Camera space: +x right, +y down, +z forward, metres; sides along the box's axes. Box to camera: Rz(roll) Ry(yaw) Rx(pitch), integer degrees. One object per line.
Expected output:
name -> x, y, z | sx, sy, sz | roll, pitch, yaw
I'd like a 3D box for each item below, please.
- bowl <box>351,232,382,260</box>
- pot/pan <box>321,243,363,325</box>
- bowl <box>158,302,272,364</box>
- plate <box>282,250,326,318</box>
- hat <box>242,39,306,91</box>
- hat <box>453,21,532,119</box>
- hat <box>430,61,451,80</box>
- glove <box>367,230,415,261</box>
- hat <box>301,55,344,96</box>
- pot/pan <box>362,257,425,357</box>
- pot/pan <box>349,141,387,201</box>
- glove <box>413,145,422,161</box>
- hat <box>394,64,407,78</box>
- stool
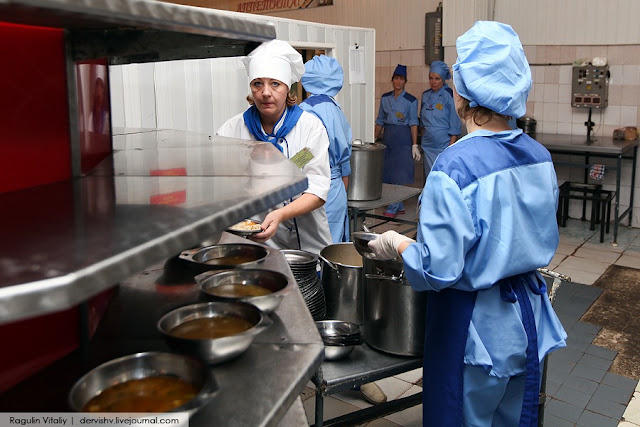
bowl -> 0.186, 0.130, 2.174 | 0.147, 0.064, 0.151 | -9, -9, -1
pot/pan -> 0.107, 0.307, 2.239 | 0.292, 0.222, 0.301 | -4, 11, -9
bowl -> -0.305, 0.346, 1.379 | 0.289, 0.104, 0.298 | 2, 11, 0
plate -> -0.051, 0.293, 2.037 | 0.253, 0.276, 0.257 | -4, 11, -9
hat -> -0.205, -0.746, 2.385 | 0.382, 0.300, 0.388 | 1, 24, -1
hat -> 0.699, -0.582, 1.905 | 0.352, 0.153, 0.456 | 8, 53, -2
hat -> 1.619, -1.895, 6.413 | 0.270, 0.218, 0.226 | 20, 5, -38
glove -> 0.295, 0.128, 1.941 | 0.127, 0.060, 0.167 | -17, 18, -20
hat -> 0.029, -1.043, 3.638 | 0.335, 0.406, 0.169 | -4, -11, -6
pot/pan -> 0.348, 0.401, 2.080 | 0.306, 0.350, 0.331 | 6, -2, 4
pot/pan -> 0.340, -0.359, 4.059 | 0.413, 0.451, 0.417 | 0, 13, -1
glove -> 1.361, -0.849, 6.695 | 0.065, 0.186, 0.142 | -7, 4, 23
hat -> 1.126, -1.969, 6.664 | 0.156, 0.164, 0.230 | 1, -2, 8
stool -> 3.219, -0.097, 5.757 | 0.709, 0.700, 0.737 | 7, 11, 36
